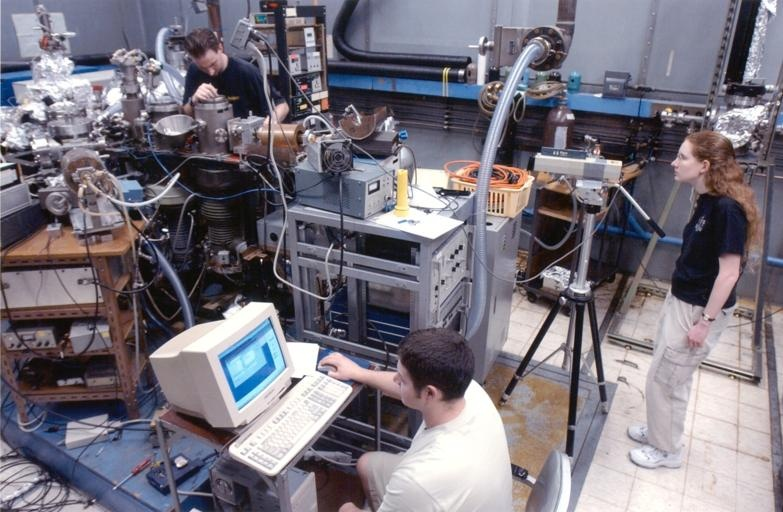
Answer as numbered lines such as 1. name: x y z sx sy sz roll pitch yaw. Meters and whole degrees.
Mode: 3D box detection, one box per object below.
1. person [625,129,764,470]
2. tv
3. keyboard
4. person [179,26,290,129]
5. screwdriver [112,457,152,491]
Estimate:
1. person: 1.683 0.223 3.624 0.790 1.871 0.834 4 15 13
2. tv: -0.847 0.528 2.868 0.478 0.501 0.526 18 30 33
3. keyboard: -0.496 0.797 2.837 0.323 0.645 0.050 38 9 -31
4. person: -1.118 -1.374 4.430 0.788 0.854 0.649 14 27 29
5. screwdriver: -1.561 1.304 3.378 0.036 0.034 0.193 12 40 36
